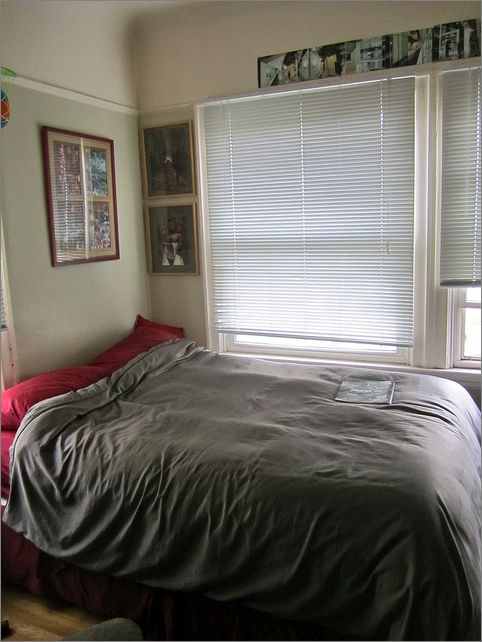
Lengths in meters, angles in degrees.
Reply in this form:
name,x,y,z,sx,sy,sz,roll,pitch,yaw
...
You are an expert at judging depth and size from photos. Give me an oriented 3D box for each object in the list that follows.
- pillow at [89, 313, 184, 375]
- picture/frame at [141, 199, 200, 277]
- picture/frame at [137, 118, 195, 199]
name,x,y,z,sx,sy,sz,roll,pitch,yaw
pillow,-0.641,0.144,2.875,0.324,0.099,0.325,8,24,32
picture/frame,-0.494,-0.619,3.407,0.508,0.661,0.043,2,9,23
picture/frame,-0.513,-1.159,3.313,0.539,0.676,0.024,1,9,21
